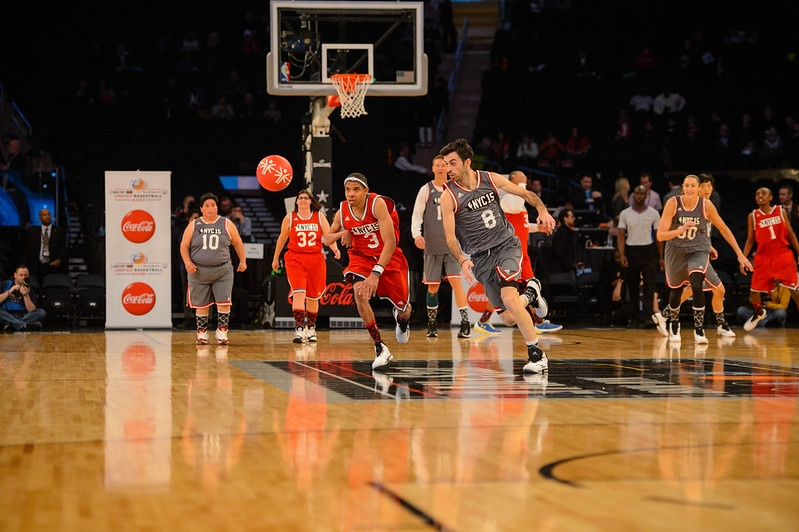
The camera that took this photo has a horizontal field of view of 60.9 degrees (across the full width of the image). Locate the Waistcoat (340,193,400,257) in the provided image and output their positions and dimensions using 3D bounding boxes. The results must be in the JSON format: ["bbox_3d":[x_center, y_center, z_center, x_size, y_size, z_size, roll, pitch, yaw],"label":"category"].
[{"bbox_3d":[-0.318,-0.433,6.986,0.540,0.630,0.363,-10,7,25],"label":"Waistcoat"}]

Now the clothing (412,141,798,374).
[{"bbox_3d":[1.887,0.020,8.008,5.099,2.965,1.775,0,-7,-18],"label":"clothing"}]

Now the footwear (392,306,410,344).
[{"bbox_3d":[0.066,0.727,7.799,0.179,0.511,0.219,-12,23,-16],"label":"footwear"}]

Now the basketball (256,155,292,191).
[{"bbox_3d":[-1.973,-1.502,10.708,0.489,0.538,0.466,0,-2,-14],"label":"basketball"}]

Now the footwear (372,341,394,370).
[{"bbox_3d":[-0.188,0.875,6.730,0.170,0.251,0.353,-1,-2,-2],"label":"footwear"}]

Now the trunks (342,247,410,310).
[{"bbox_3d":[-0.260,0.023,7.078,0.357,0.332,1.249,12,18,-16],"label":"trunks"}]

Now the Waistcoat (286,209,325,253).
[{"bbox_3d":[-1.276,-0.410,9.446,0.689,0.827,0.483,1,-5,-9],"label":"Waistcoat"}]

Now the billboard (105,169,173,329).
[{"bbox_3d":[-4.215,-0.306,11.017,1.165,2.627,0.078,0,1,7],"label":"billboard"}]

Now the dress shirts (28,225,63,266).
[{"bbox_3d":[-6.489,-0.357,12.449,0.698,0.779,0.481,3,-9,-32],"label":"dress shirts"}]

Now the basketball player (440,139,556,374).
[{"bbox_3d":[0.931,-0.095,6.523,0.973,2.219,1.072,-2,-2,11],"label":"basketball player"}]
